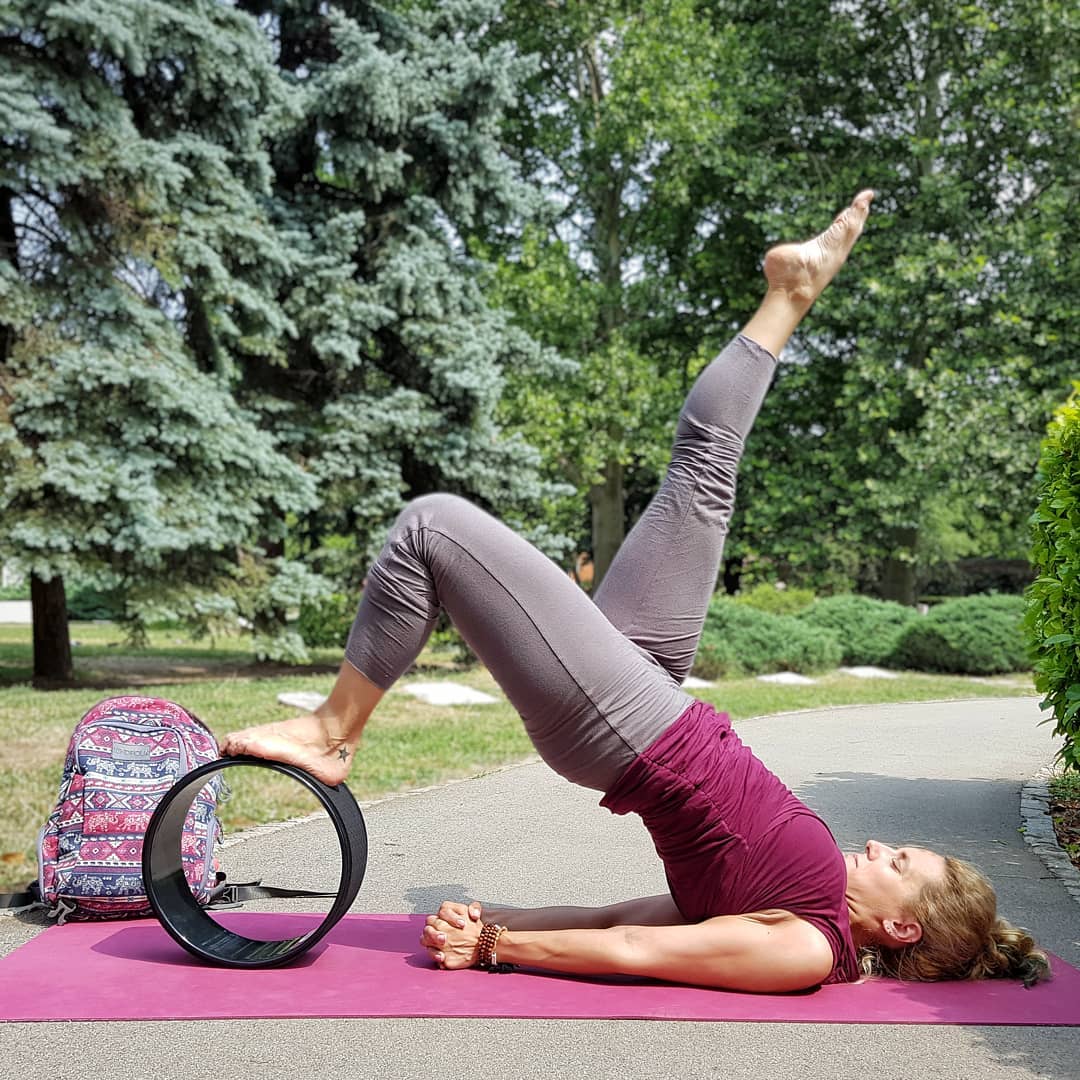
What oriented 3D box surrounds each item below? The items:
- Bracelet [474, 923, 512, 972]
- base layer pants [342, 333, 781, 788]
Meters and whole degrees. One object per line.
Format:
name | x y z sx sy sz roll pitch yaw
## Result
Bracelet | -0.187 1.483 5.238 0.108 0.119 0.180 10 2 -11
base layer pants | 0.063 0.023 5.300 1.239 1.676 0.713 11 8 5
